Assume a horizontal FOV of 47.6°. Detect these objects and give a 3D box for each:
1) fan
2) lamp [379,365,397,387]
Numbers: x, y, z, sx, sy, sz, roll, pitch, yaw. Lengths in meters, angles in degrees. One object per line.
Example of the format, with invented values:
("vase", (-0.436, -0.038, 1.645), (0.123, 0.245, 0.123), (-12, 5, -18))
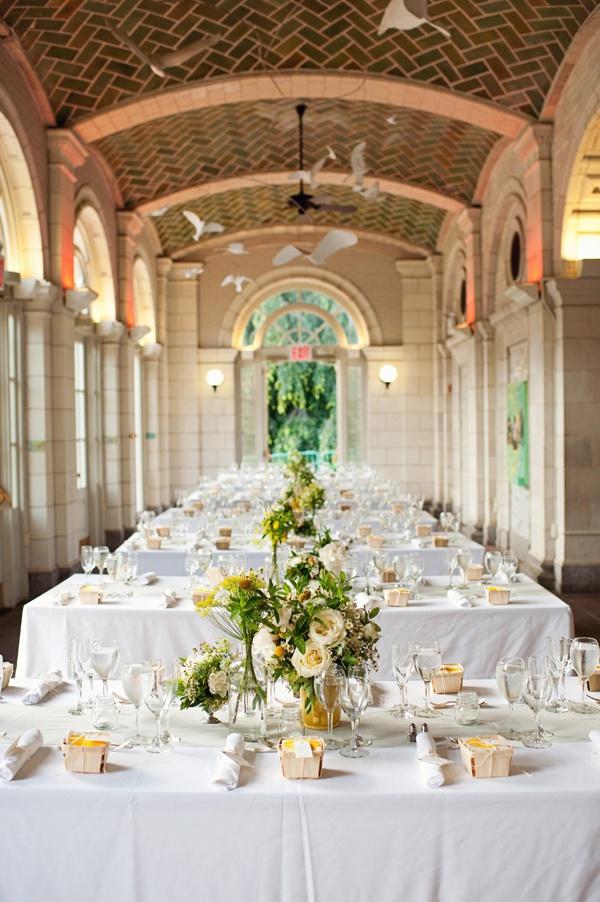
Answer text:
("fan", (-0.134, -3.810, 8.904), (1.022, 1.296, 0.983), (-16, 30, -26))
("lamp", (1.799, -1.517, 13.944), (0.370, 0.482, 0.142), (0, -1, 17))
